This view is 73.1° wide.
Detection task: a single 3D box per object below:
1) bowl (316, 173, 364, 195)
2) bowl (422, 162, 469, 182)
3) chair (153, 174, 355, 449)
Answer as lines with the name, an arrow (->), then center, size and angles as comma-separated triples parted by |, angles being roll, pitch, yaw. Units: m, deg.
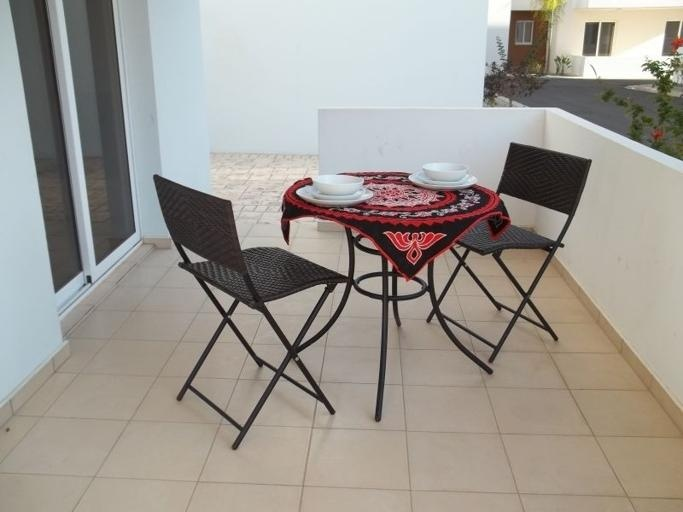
bowl -> -0.015, -0.397, 2.466 | 0.194, 0.067, 0.187 | 2, 29, -1
bowl -> 0.620, -0.506, 2.769 | 0.185, 0.074, 0.179 | 0, 28, 0
chair -> -0.456, 0.219, 2.415 | 0.797, 1.240, 0.703 | -9, 22, -36
